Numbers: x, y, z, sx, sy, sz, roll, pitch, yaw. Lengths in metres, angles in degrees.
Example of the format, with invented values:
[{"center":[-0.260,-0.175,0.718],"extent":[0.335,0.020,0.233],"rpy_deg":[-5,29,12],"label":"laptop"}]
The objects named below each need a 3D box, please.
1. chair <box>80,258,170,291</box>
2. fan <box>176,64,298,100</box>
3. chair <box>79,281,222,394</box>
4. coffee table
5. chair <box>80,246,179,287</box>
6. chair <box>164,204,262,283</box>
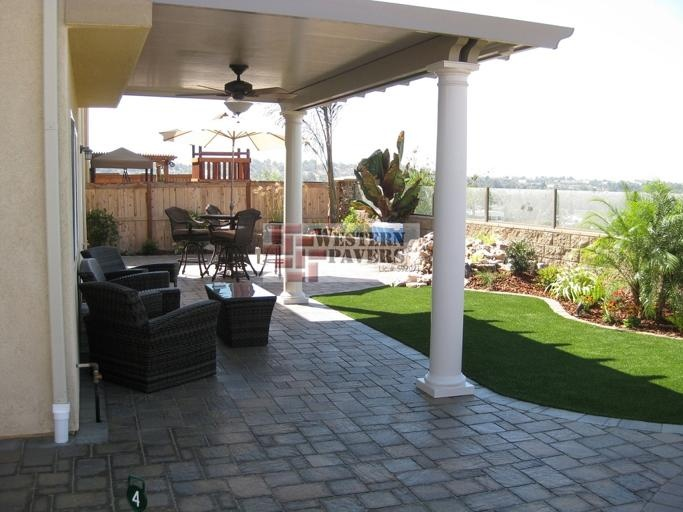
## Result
[{"center":[-2.643,0.285,6.044],"extent":[0.700,0.373,0.636],"rpy_deg":[-2,5,-31],"label":"chair"},{"center":[-1.528,-2.550,7.273],"extent":[1.345,0.454,1.128],"rpy_deg":[14,22,15],"label":"fan"},{"center":[-2.157,0.762,5.456],"extent":[1.335,0.995,1.159],"rpy_deg":[7,7,40],"label":"chair"},{"center":[-1.410,0.797,6.772],"extent":[0.696,0.523,1.023],"rpy_deg":[1,1,-22],"label":"coffee table"},{"center":[-2.967,0.263,7.159],"extent":[1.224,0.707,0.876],"rpy_deg":[-4,7,-20],"label":"chair"},{"center":[-3.189,-0.256,12.008],"extent":[2.410,1.369,1.146],"rpy_deg":[3,7,26],"label":"chair"}]
